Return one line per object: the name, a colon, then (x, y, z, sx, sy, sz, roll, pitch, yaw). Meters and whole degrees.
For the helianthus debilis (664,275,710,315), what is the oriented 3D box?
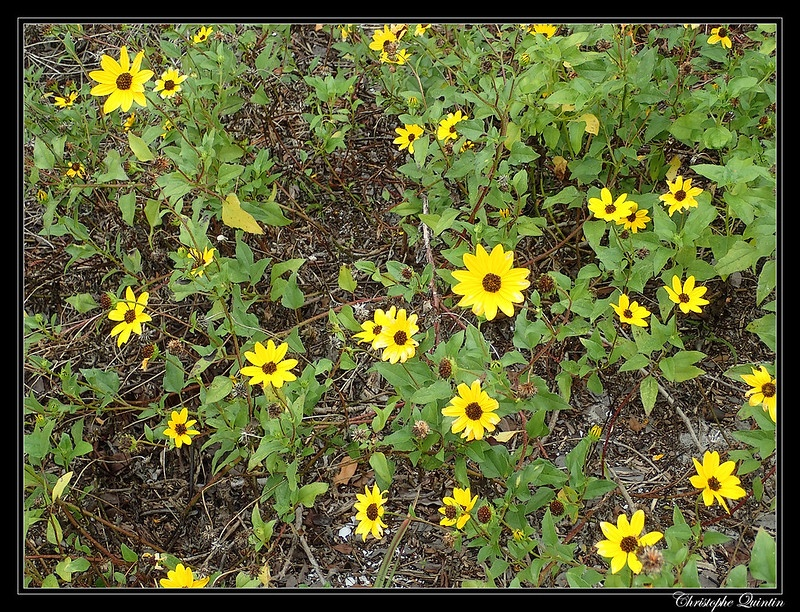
helianthus debilis: (1.368, -0.069, 2.815, 0.208, 0.214, 0.077, 1, 65, 39)

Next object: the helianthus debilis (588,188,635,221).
helianthus debilis: (1.039, -0.505, 2.895, 0.205, 0.132, 0.165, 19, 51, 27)

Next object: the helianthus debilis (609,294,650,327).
helianthus debilis: (1.067, 0.046, 2.745, 0.161, 0.046, 0.164, 40, 69, 12)

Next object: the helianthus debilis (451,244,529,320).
helianthus debilis: (0.387, -0.129, 2.534, 0.340, 0.334, 0.084, -24, 51, 25)

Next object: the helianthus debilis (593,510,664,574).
helianthus debilis: (0.917, 0.939, 2.336, 0.266, 0.068, 0.229, -36, 36, -23)

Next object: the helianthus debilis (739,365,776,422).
helianthus debilis: (1.663, 0.372, 2.667, 0.264, 0.060, 0.239, 37, 53, -11)

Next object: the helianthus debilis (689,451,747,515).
helianthus debilis: (1.309, 0.746, 2.494, 0.075, 0.179, 0.185, 34, 27, 12)
